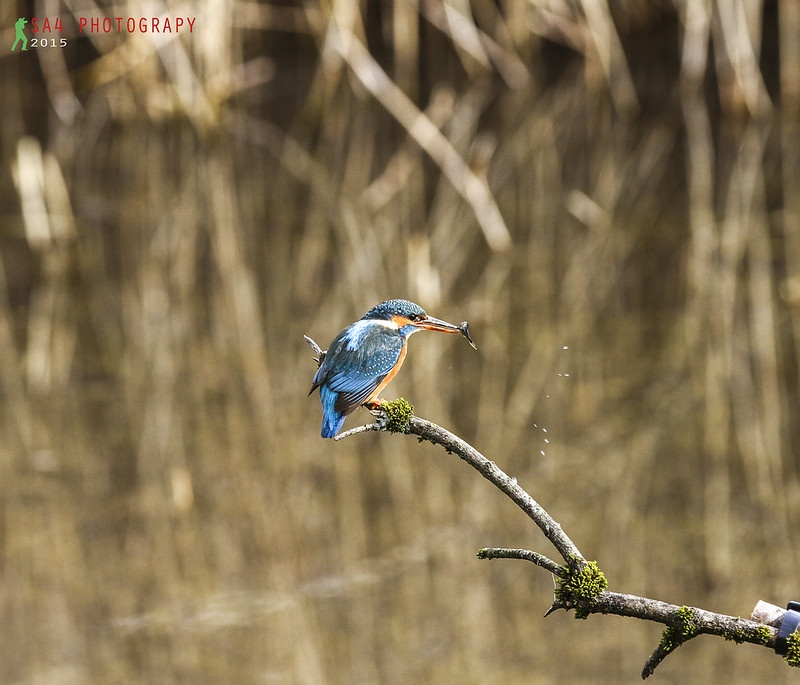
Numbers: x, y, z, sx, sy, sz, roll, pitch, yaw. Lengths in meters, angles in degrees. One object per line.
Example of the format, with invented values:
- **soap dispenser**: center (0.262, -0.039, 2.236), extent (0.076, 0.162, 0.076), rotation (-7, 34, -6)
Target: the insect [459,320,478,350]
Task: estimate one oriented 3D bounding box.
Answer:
- **insect**: center (0.093, -0.010, 2.824), extent (0.013, 0.018, 0.044), rotation (-37, 102, -16)
